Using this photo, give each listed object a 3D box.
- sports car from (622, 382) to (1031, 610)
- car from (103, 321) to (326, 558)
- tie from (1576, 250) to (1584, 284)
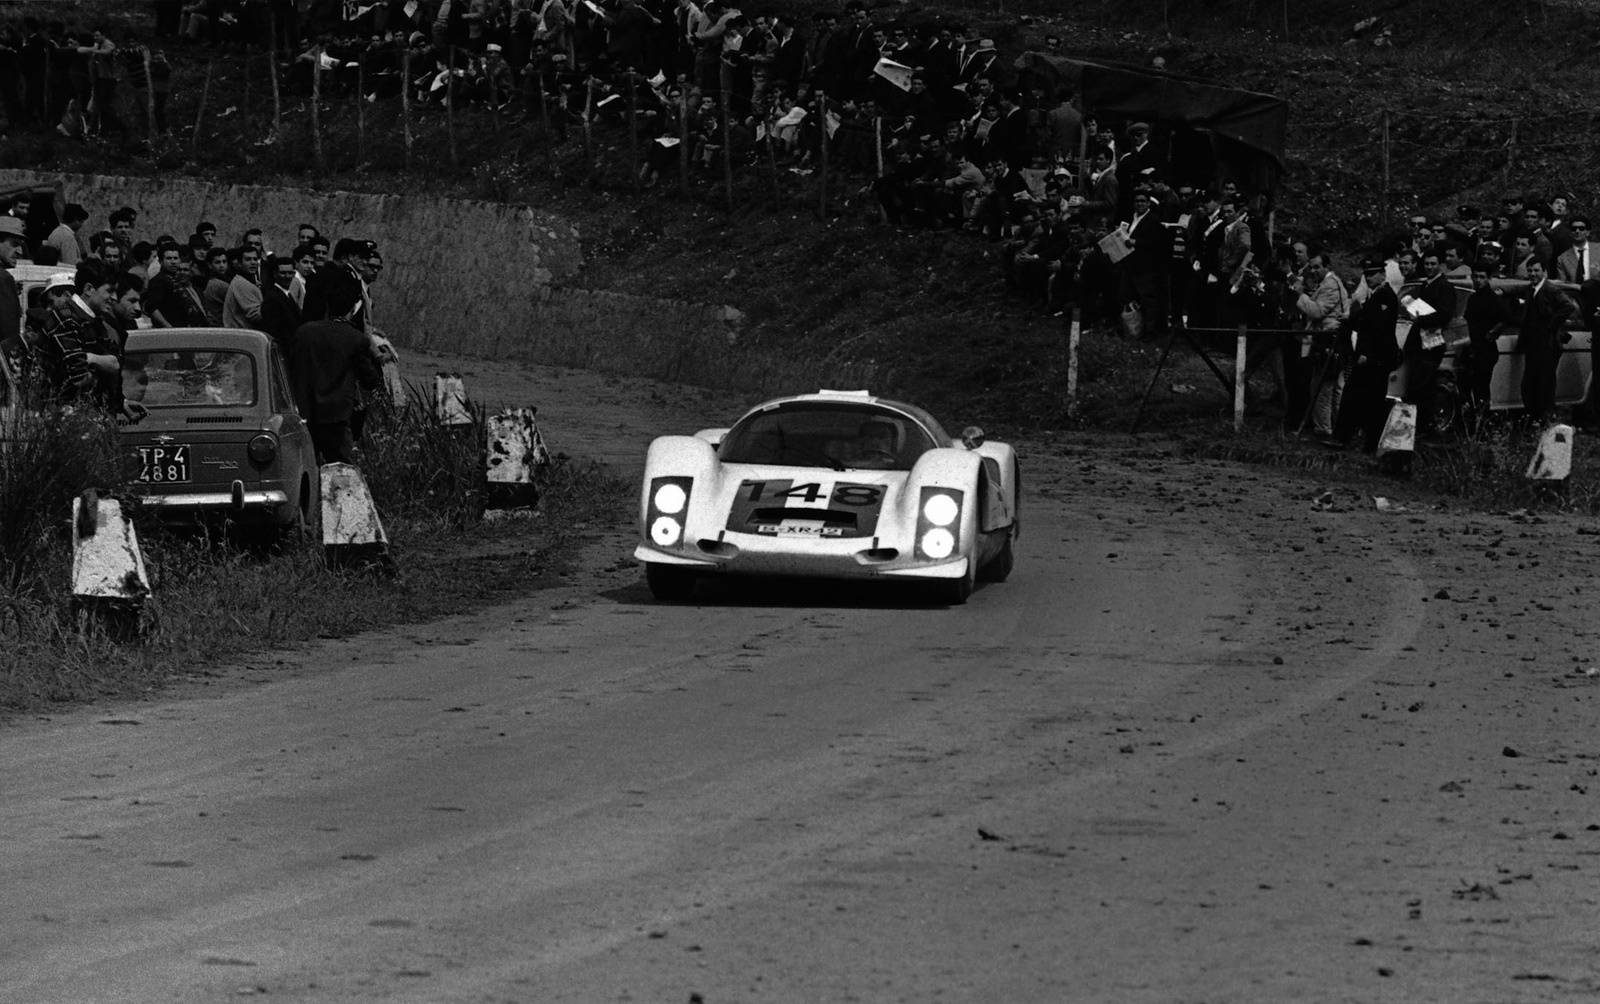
[{"bbox_3d":[0.235,0.092,23.684,3.441,1.787,2.245,1,14,0],"label":"sports car"},{"bbox_3d":[-5.672,-0.492,24.522,1.818,2.039,1.439,-3,15,-13],"label":"car"},{"bbox_3d":[10.508,-3.123,33.946,0.098,0.390,0.105,6,-17,-21],"label":"tie"}]
